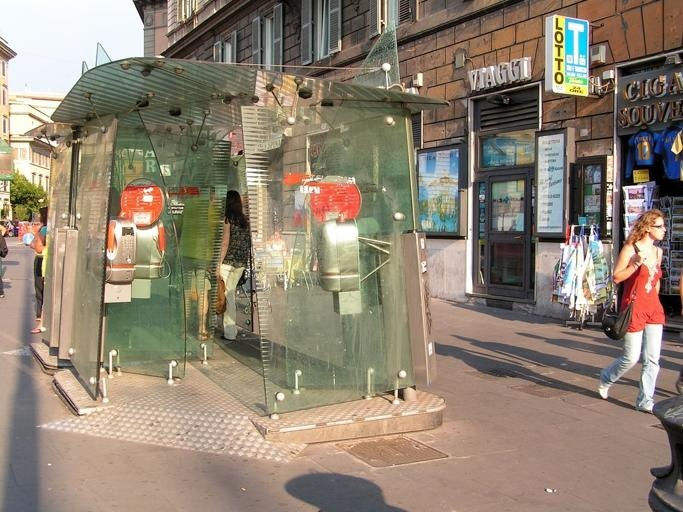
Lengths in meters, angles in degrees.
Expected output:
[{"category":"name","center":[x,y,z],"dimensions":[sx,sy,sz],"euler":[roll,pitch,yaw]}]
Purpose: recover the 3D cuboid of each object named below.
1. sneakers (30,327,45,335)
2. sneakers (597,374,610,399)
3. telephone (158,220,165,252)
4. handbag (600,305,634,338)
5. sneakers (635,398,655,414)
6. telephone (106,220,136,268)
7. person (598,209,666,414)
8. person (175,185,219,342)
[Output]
[{"category":"sneakers","center":[-5.151,1.256,10.670],"dimensions":[0.246,0.138,0.528],"euler":[0,-3,-23]},{"category":"sneakers","center":[3.095,1.524,7.438],"dimensions":[0.106,0.143,0.327],"euler":[-3,12,2]},{"category":"telephone","center":[-2.318,-0.261,8.094],"dimensions":[0.097,0.376,0.191],"euler":[-1,5,-15]},{"category":"handbag","center":[3.044,0.714,7.035],"dimensions":[0.302,0.390,0.279],"euler":[-4,7,-40]},{"category":"sneakers","center":[3.337,1.631,6.956],"dimensions":[0.173,0.163,0.164],"euler":[4,6,26]},{"category":"telephone","center":[-2.436,-0.160,6.973],"dimensions":[0.414,0.566,0.399],"euler":[1,-3,-18]},{"category":"person","center":[3.276,0.589,7.075],"dimensions":[0.596,2.221,0.584],"euler":[4,6,28]},{"category":"person","center":[-1.986,0.096,8.680],"dimensions":[0.382,2.098,0.924],"euler":[3,6,19]}]
